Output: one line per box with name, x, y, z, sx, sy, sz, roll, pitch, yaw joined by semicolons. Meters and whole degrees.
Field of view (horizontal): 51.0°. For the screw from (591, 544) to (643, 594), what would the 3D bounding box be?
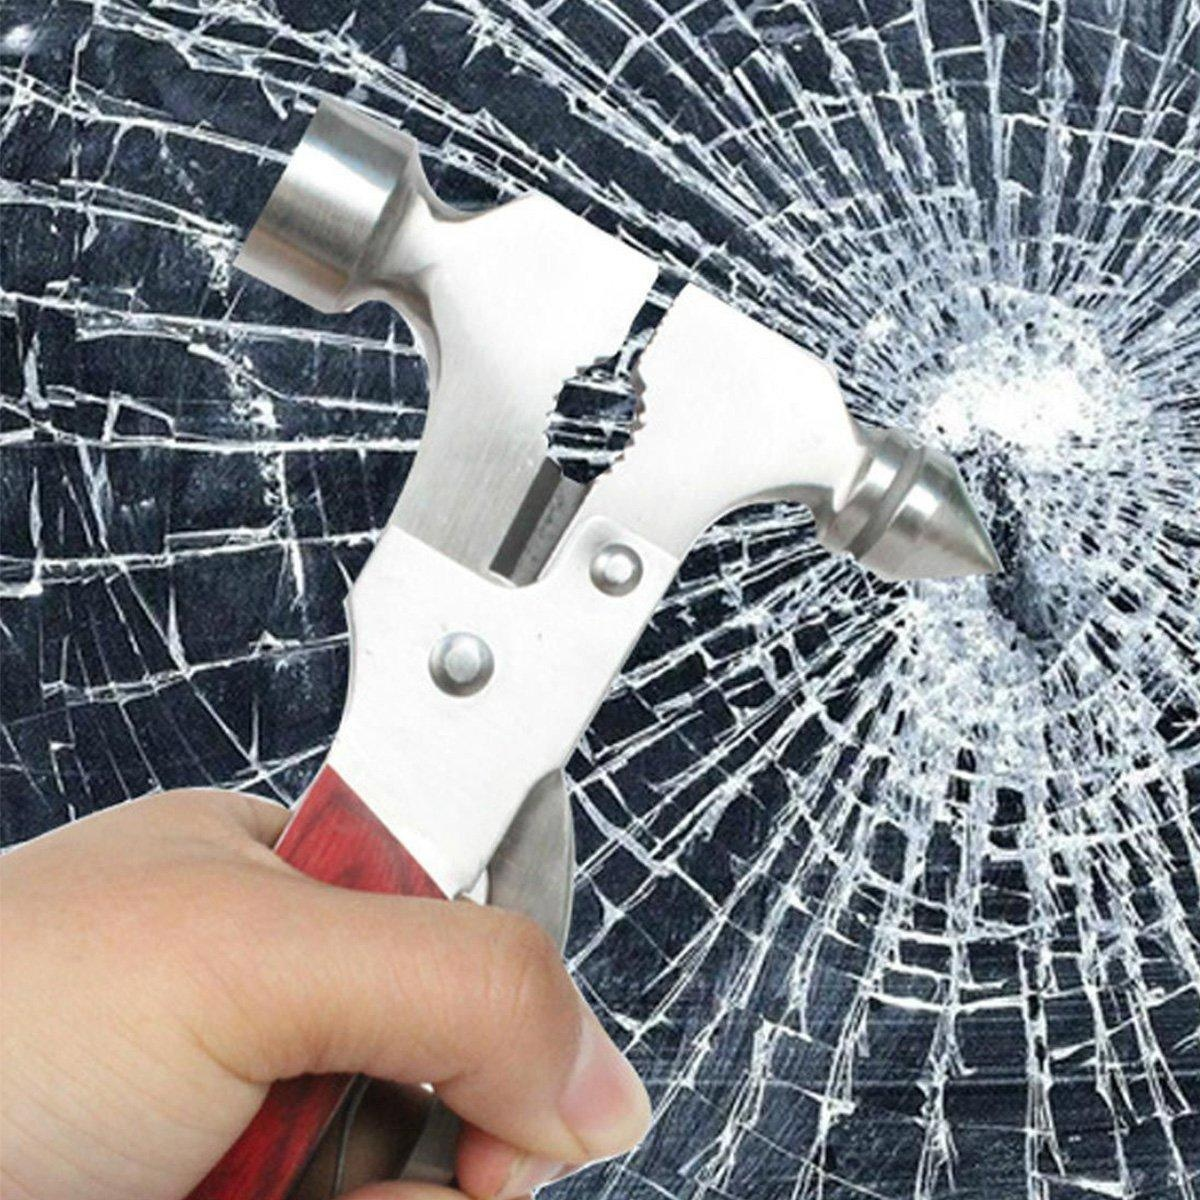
screw;0.008;-0.011;0.489;0.021;0.017;0.004;4;-13;-3
